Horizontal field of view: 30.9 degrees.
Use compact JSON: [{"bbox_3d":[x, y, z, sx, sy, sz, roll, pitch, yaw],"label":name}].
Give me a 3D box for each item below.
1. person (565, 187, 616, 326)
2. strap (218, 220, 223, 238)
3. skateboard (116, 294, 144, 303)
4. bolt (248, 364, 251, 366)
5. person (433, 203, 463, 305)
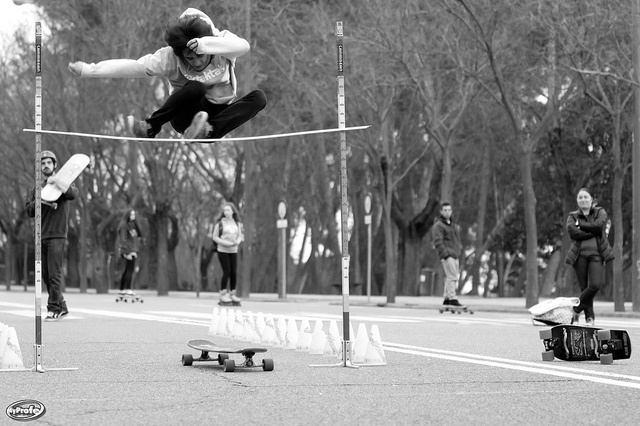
[{"bbox_3d":[5.894,0.925,25.448,0.972,3.051,1.333,0,-4,12],"label":"person"},{"bbox_3d":[-2.778,0.404,32.052,0.119,0.451,0.249,1,-4,-4],"label":"strap"},{"bbox_3d":[-5.876,2.591,35.601,0.556,0.193,0.452,0,-4,2],"label":"skateboard"},{"bbox_3d":[-1.242,2.622,20.124,0.044,0.033,0.015,1,-4,-7],"label":"bolt"},{"bbox_3d":[3.340,1.037,30.347,0.676,2.654,0.932,0,-4,16],"label":"person"}]
